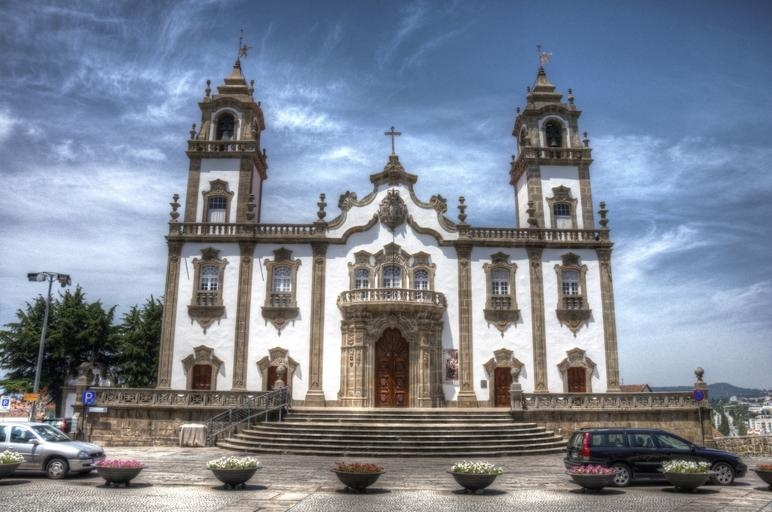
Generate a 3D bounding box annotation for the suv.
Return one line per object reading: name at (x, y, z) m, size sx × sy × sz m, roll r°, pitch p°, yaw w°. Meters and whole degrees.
suv at (11.616, 8.595, 28.698) m, size 7.035 × 1.877 × 2.916 m, roll -2°, pitch -15°, yaw 1°
